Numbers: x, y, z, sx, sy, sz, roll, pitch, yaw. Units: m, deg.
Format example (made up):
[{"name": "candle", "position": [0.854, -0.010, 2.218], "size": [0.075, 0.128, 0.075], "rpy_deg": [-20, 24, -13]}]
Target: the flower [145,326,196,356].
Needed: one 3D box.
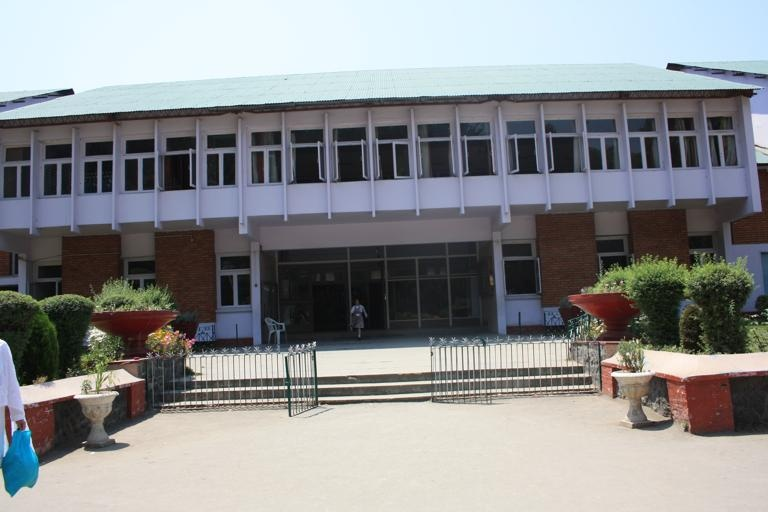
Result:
[{"name": "flower", "position": [-5.784, 2.314, 20.105], "size": [0.951, 0.610, 0.922], "rpy_deg": [0, 1, 10]}]

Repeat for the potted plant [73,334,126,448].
[{"name": "potted plant", "position": [-6.073, 2.956, 15.825], "size": [1.018, 1.951, 0.977], "rpy_deg": [-5, -16, -9]}]

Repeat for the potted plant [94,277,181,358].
[{"name": "potted plant", "position": [-6.553, 1.675, 19.511], "size": [2.295, 1.756, 2.195], "rpy_deg": [-3, -7, -7]}]

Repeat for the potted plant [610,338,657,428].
[{"name": "potted plant", "position": [5.383, 2.692, 16.109], "size": [0.802, 1.734, 1.370], "rpy_deg": [-5, -6, 18]}]

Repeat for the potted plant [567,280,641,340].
[{"name": "potted plant", "position": [5.544, 1.424, 18.966], "size": [1.383, 0.685, 1.307], "rpy_deg": [1, -12, -7]}]
